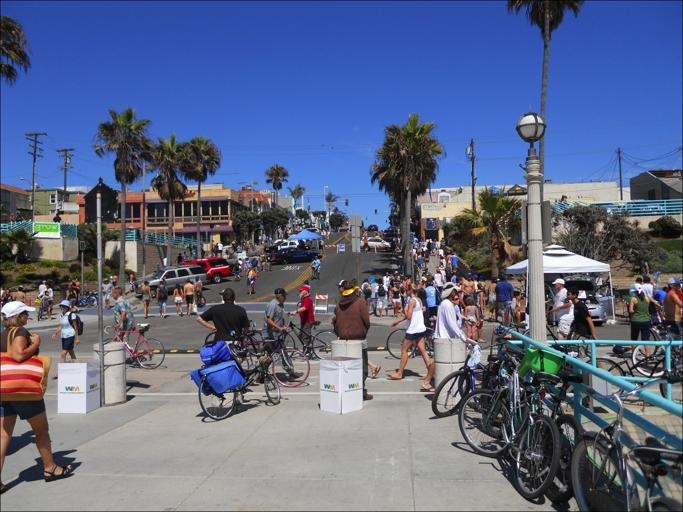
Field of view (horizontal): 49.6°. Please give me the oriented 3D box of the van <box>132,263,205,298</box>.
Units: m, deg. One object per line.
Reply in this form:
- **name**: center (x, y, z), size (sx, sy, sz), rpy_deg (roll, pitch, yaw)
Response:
- **van**: center (-8.422, 1.198, 40.055), size (4.420, 2.154, 2.027), rpy_deg (1, -2, -38)

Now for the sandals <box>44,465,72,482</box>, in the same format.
- **sandals**: center (-4.328, 3.527, 11.976), size (0.420, 0.196, 0.190), rpy_deg (-4, 7, -17)

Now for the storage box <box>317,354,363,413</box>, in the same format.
- **storage box**: center (0.191, 2.612, 14.742), size (0.747, 0.936, 0.795), rpy_deg (-2, -6, -11)

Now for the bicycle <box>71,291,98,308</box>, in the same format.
- **bicycle**: center (-10.833, 2.047, 33.014), size (1.530, 0.578, 1.042), rpy_deg (-1, 2, 25)

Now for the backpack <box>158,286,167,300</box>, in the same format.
- **backpack**: center (-6.817, 1.583, 30.165), size (0.449, 0.682, 0.348), rpy_deg (0, 14, -7)

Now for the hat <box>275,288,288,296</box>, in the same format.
- **hat**: center (-1.163, 0.885, 16.878), size (0.193, 0.151, 0.277), rpy_deg (8, 10, 32)

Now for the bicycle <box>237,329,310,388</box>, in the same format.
- **bicycle**: center (-1.229, 2.362, 16.479), size (1.787, 1.290, 0.957), rpy_deg (-2, 3, -4)

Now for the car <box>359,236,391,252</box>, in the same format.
- **car**: center (3.730, -0.673, 70.535), size (2.776, 1.429, 1.652), rpy_deg (-4, 9, -4)

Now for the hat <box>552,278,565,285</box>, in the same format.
- **hat**: center (6.230, 0.775, 21.177), size (0.398, 0.239, 0.308), rpy_deg (0, 2, 3)

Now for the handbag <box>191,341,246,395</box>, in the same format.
- **handbag**: center (-2.394, 2.263, 14.620), size (1.038, 1.105, 0.765), rpy_deg (-23, 8, -41)

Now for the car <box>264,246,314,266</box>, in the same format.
- **car**: center (-3.137, 0.066, 53.971), size (2.796, 1.009, 1.480), rpy_deg (-6, 9, -11)

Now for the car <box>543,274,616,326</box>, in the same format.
- **car**: center (8.375, 1.459, 25.347), size (2.114, 1.444, 2.853), rpy_deg (-1, -5, 14)

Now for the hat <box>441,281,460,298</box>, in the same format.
- **hat**: center (2.357, 0.799, 15.785), size (0.226, 0.355, 0.490), rpy_deg (1, 8, 14)

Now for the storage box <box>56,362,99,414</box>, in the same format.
- **storage box**: center (-4.951, 2.755, 15.097), size (0.972, 1.038, 0.561), rpy_deg (-6, -12, 37)

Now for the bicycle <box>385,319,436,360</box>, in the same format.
- **bicycle**: center (2.045, 2.326, 20.234), size (1.340, 0.979, 0.726), rpy_deg (4, -1, 1)

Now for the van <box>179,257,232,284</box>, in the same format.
- **van**: center (-7.299, 0.981, 45.133), size (2.891, 1.278, 1.341), rpy_deg (4, -4, -37)
